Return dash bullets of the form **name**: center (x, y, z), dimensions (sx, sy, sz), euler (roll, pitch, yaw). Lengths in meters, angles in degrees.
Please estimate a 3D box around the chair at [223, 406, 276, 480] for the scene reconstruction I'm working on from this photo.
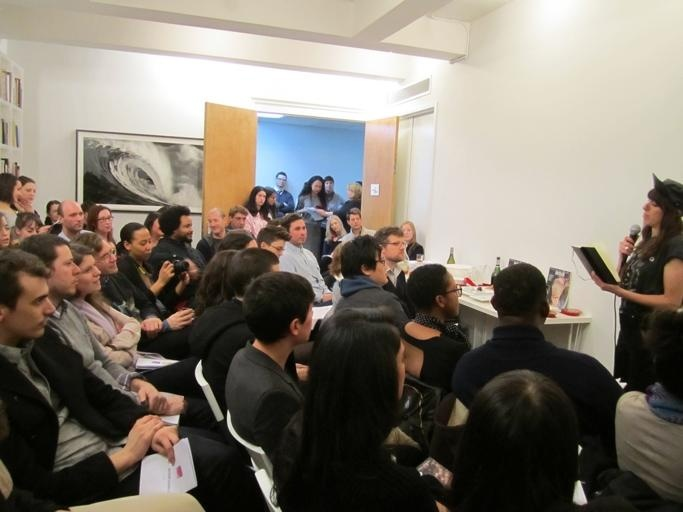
- **chair**: center (-0.363, 0.767, 1.951), dimensions (0.213, 0.304, 0.228), euler (-7, 16, -23)

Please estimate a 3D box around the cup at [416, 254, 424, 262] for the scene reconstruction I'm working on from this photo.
- **cup**: center (0.962, 0.034, 5.803), dimensions (0.084, 0.106, 0.089), euler (1, 10, 0)

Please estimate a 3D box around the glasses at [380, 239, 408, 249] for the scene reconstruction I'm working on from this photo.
- **glasses**: center (0.448, -0.103, 4.182), dimensions (0.142, 0.047, 0.146), euler (0, -3, -40)

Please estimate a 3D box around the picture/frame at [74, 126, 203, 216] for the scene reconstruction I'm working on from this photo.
- **picture/frame**: center (-2.929, -1.213, 6.756), dimensions (1.416, 0.910, 0.027), euler (1, 0, -22)
